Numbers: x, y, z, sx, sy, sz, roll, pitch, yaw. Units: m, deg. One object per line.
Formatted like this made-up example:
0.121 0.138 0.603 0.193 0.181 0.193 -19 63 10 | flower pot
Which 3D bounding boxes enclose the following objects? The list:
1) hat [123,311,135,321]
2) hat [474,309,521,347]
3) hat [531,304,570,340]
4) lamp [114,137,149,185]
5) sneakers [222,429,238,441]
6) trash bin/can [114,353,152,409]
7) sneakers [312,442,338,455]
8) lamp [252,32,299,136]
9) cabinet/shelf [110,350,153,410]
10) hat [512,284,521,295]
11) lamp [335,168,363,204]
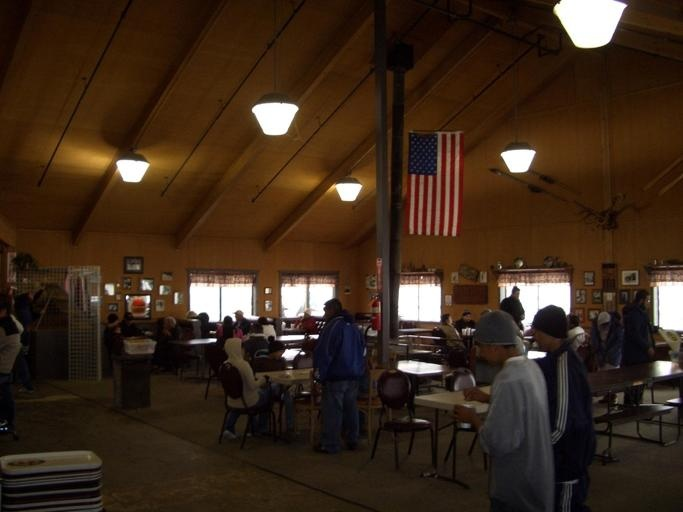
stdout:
-4.893 1.392 13.573 0.190 0.216 0.160 -2 0 28 | hat
1.052 0.507 4.019 0.254 0.172 0.210 5 8 12 | hat
1.440 0.457 4.063 0.203 0.220 0.234 11 13 16 | hat
-3.855 -1.699 10.846 0.703 0.819 0.760 1 2 4 | lamp
-1.494 2.386 7.877 0.212 0.096 0.080 21 8 -25 | sneakers
-3.336 2.088 9.946 0.638 0.925 0.658 -6 -5 -19 | trash bin/can
-0.205 2.411 7.404 0.317 0.152 0.119 -4 -4 27 | sneakers
-0.955 -2.174 8.618 0.629 1.656 0.674 0 3 -7 | lamp
-3.399 2.091 9.950 0.727 1.174 0.722 3 -5 -34 | cabinet/shelf
3.912 0.761 13.275 0.182 0.244 0.273 0 -9 -3 | hat
0.154 -1.508 12.753 0.579 0.890 0.661 -4 -15 13 | lamp
